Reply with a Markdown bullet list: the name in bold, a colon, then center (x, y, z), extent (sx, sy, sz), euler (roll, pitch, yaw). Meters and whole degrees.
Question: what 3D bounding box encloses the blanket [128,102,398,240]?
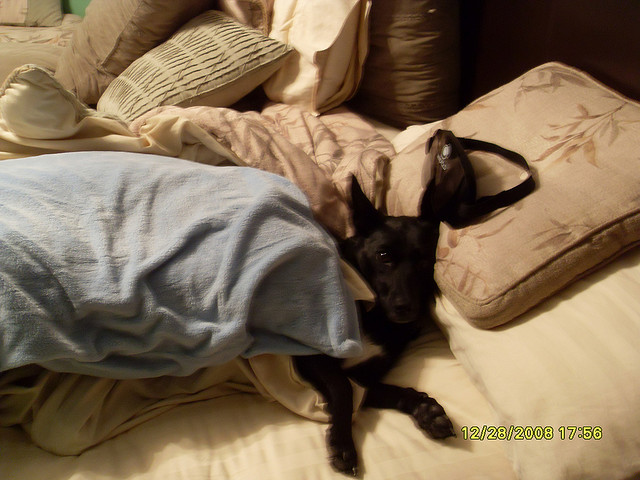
- **blanket**: center (-0.092, -0.120, 1.356), extent (0.485, 0.592, 0.154), euler (35, 100, 31)
